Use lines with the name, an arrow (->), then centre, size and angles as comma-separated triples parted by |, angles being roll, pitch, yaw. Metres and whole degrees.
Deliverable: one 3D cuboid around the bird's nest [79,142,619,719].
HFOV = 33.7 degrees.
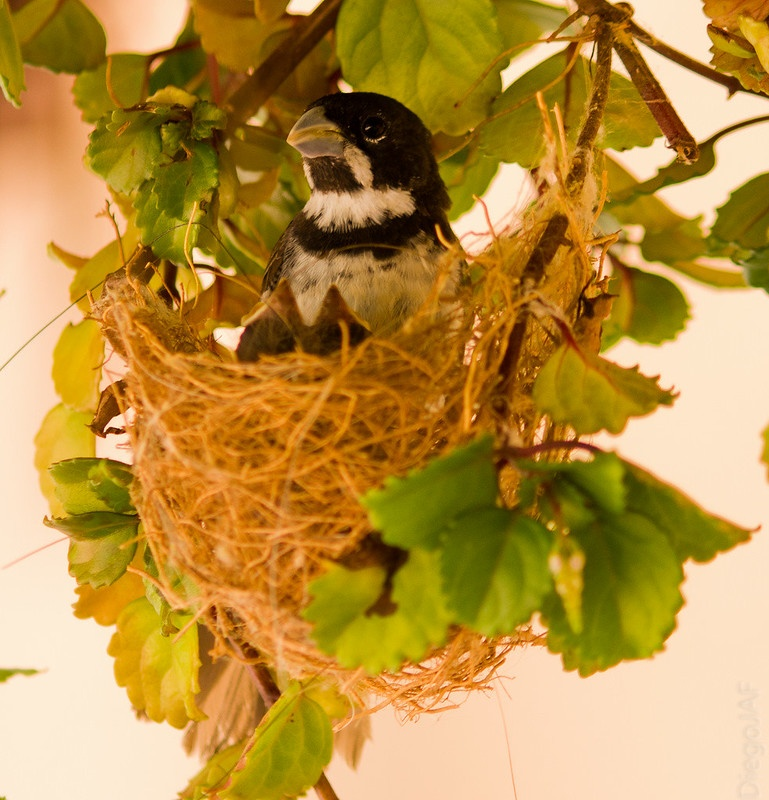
bird's nest -> -0.030, -0.017, 1.311 | 0.496, 0.524, 0.496 | 13, -72, 10
